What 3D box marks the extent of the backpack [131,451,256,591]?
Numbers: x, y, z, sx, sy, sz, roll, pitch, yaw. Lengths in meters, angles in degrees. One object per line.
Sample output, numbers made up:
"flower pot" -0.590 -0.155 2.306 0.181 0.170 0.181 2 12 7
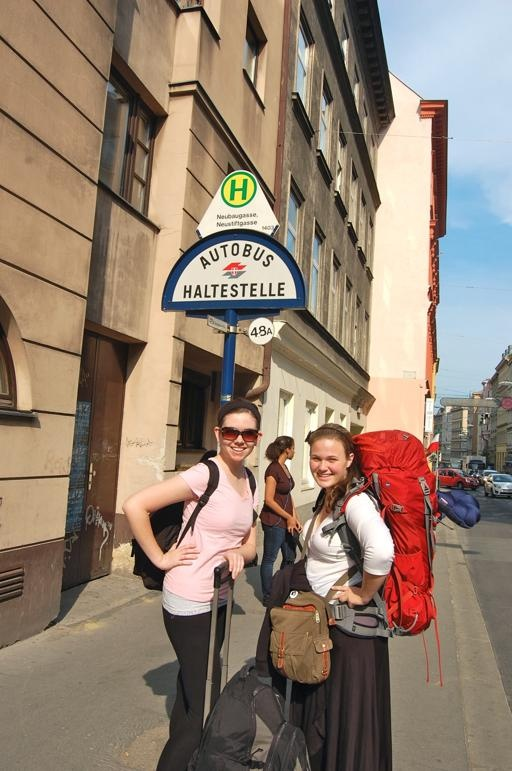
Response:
"backpack" -0.264 0.477 1.873 0.499 0.585 0.336 2 -2 14
